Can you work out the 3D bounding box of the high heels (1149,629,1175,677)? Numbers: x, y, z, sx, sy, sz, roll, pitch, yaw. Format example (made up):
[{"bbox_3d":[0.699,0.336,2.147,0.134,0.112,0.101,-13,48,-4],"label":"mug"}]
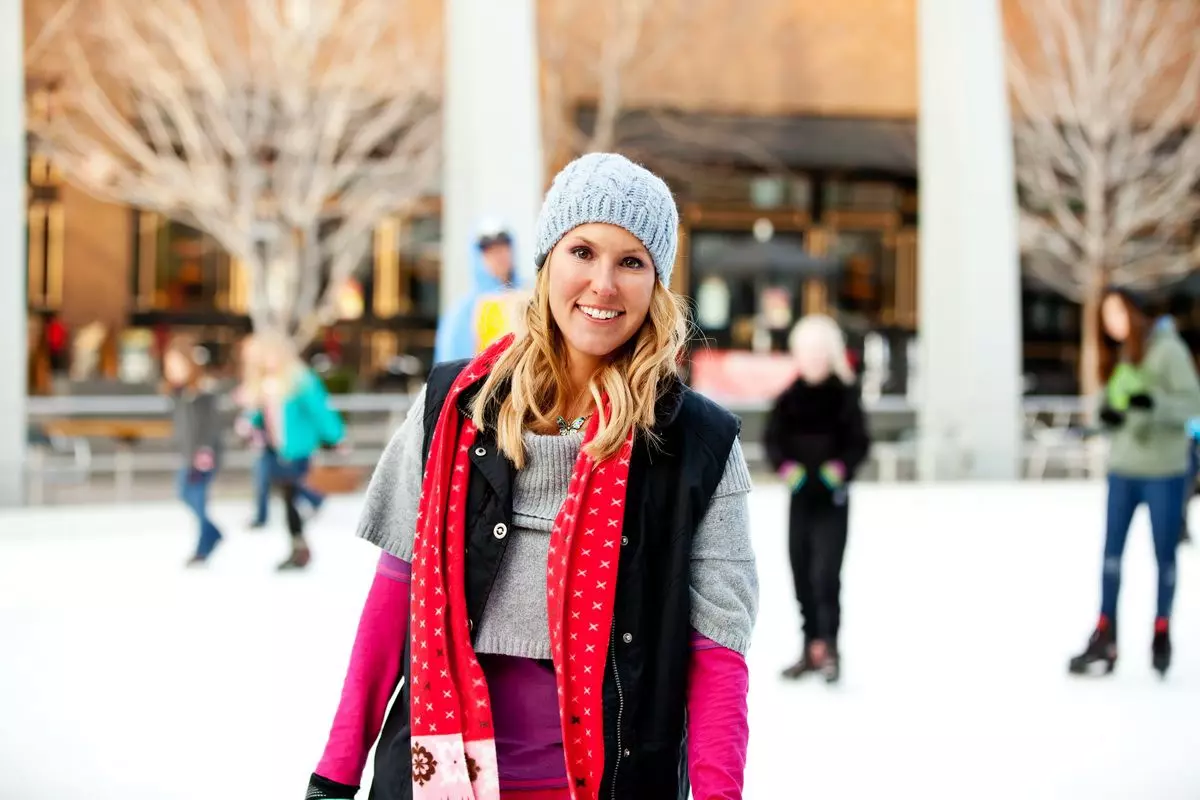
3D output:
[{"bbox_3d":[4.156,1.874,11.196,0.148,0.360,0.083,0,-1,32],"label":"high heels"}]

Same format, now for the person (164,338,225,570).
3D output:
[{"bbox_3d":[-3.941,0.598,14.522,0.586,0.529,2.284,12,44,-23],"label":"person"}]

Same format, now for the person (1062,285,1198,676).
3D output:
[{"bbox_3d":[4.069,0.593,11.418,0.885,2.901,0.673,-1,3,19],"label":"person"}]

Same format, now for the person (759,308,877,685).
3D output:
[{"bbox_3d":[1.660,0.722,11.629,0.759,2.724,1.005,-1,3,10],"label":"person"}]

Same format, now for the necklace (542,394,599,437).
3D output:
[{"bbox_3d":[-0.161,0.075,8.079,0.233,0.092,0.180,-36,-7,23],"label":"necklace"}]

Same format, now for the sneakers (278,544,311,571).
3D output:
[{"bbox_3d":[-2.776,1.415,13.512,0.288,0.211,0.257,-3,3,-9],"label":"sneakers"}]
